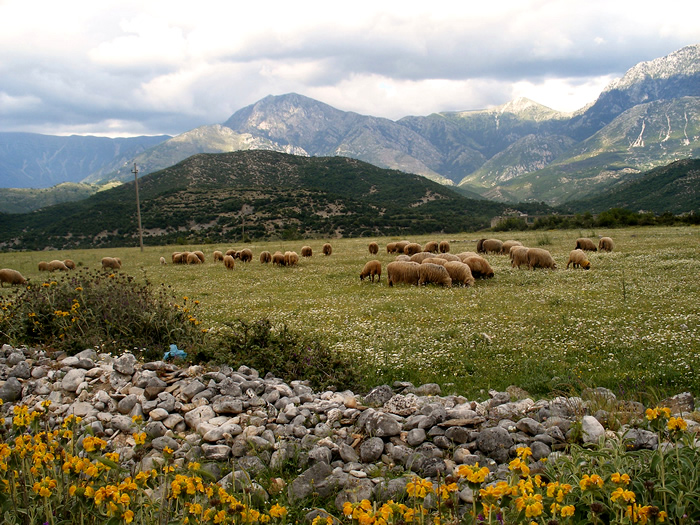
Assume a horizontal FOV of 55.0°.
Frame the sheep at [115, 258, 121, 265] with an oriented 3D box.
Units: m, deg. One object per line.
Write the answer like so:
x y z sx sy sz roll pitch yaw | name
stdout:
-19.093 -0.057 55.079 0.578 0.353 0.763 1 1 -15 | sheep

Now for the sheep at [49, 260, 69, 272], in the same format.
-21.562 0.216 49.817 1.141 0.732 2.119 -3 4 -22 | sheep
